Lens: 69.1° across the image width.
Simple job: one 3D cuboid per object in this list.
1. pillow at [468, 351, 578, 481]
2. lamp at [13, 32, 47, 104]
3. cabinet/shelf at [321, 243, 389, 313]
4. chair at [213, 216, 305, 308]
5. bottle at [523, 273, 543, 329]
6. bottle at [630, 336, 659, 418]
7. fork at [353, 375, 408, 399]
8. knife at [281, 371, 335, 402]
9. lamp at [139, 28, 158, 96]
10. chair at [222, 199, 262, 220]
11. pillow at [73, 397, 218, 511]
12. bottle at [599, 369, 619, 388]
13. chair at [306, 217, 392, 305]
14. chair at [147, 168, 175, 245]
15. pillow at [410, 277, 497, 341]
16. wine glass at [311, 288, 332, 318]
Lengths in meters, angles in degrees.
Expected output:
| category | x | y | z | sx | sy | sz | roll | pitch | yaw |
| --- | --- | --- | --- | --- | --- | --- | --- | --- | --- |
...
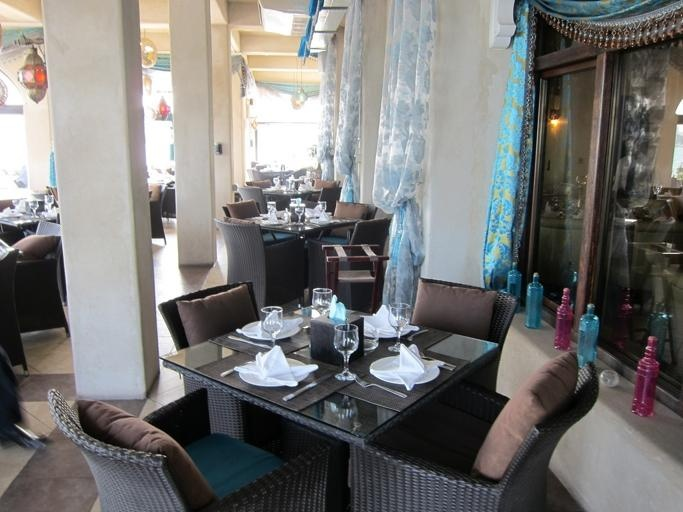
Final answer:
| category | x | y | z | sx | sy | sz | roll | pitch | yaw |
| --- | --- | --- | --- | --- | --- | --- | --- | --- | --- |
| pillow | 0.787 | 0.699 | 2.130 | 0.220 | 0.509 | 0.593 | 30 | 47 | 28 |
| lamp | -4.757 | -2.814 | 7.592 | 0.413 | 0.959 | 0.388 | 0 | 11 | -2 |
| cabinet/shelf | 0.113 | 0.255 | 4.599 | 0.456 | 0.667 | 0.492 | -1 | 14 | -7 |
| chair | -0.836 | 0.040 | 5.190 | 0.784 | 0.953 | 0.816 | 6 | 18 | 16 |
| bottle | 1.372 | 0.301 | 3.487 | 0.109 | 0.368 | 0.209 | 5 | 12 | 22 |
| bottle | 1.534 | 0.575 | 2.463 | 0.094 | 0.398 | 0.181 | 8 | 13 | 35 |
| fork | 0.176 | 0.577 | 2.179 | 0.171 | 0.028 | 0.024 | 20 | 32 | 36 |
| knife | -0.123 | 0.563 | 2.242 | 0.061 | 0.026 | 0.491 | 11 | 8 | 27 |
| lamp | -3.422 | -3.428 | 8.625 | 0.348 | 1.240 | 0.179 | -1 | 4 | -4 |
| chair | -1.260 | -0.567 | 6.112 | 0.323 | 0.430 | 0.317 | -12 | 14 | -42 |
| pillow | -0.744 | 0.765 | 1.914 | 0.590 | 0.436 | 0.209 | 14 | 28 | 40 |
| bottle | 1.467 | 0.666 | 2.700 | 0.083 | 0.074 | 0.082 | -32 | 26 | -29 |
| chair | 0.159 | 0.115 | 4.835 | 0.491 | 0.698 | 0.506 | 2 | 13 | 10 |
| chair | -3.146 | -0.765 | 8.715 | 0.439 | 0.986 | 3.567 | -3 | 11 | -20 |
| pillow | 0.696 | 0.332 | 3.027 | 0.293 | 0.255 | 0.117 | 9 | -27 | 22 |
| wine glass | -0.117 | 0.252 | 2.714 | 0.119 | 0.209 | 0.125 | -1 | 8 | -10 |
